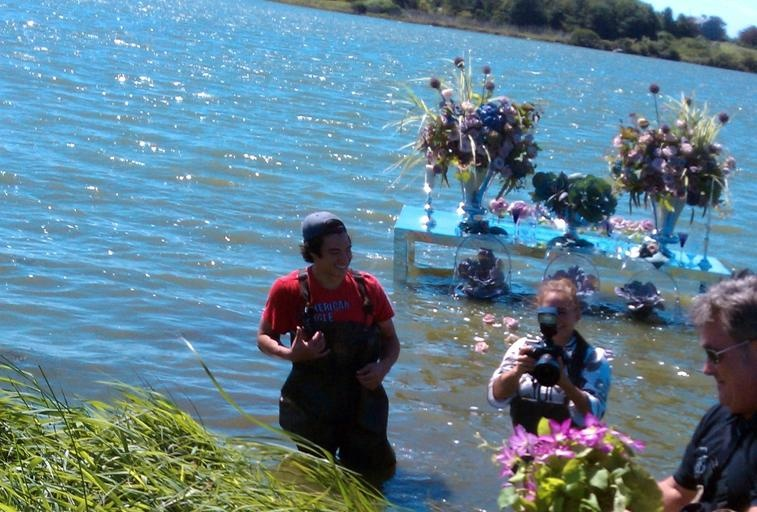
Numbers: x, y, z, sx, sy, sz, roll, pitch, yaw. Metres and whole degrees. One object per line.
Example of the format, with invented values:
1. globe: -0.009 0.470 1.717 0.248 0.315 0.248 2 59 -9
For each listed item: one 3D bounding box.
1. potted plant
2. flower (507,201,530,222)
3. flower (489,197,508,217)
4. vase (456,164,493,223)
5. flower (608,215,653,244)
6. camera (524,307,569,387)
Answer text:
1. potted plant: 3.378 -1.038 25.211 1.124 0.810 1.225 15 0 18
2. flower: 2.464 -0.785 25.622 0.343 0.362 0.376 -4 -14 -33
3. flower: 2.155 -0.895 25.727 0.284 0.191 0.359 -7 -23 13
4. vase: 1.741 -1.172 25.677 0.748 1.074 0.778 4 9 -14
5. flower: 4.511 -0.477 25.567 0.604 0.227 0.448 6 13 33
6. camera: 2.475 1.356 21.604 0.543 1.093 0.570 2 -2 -17
